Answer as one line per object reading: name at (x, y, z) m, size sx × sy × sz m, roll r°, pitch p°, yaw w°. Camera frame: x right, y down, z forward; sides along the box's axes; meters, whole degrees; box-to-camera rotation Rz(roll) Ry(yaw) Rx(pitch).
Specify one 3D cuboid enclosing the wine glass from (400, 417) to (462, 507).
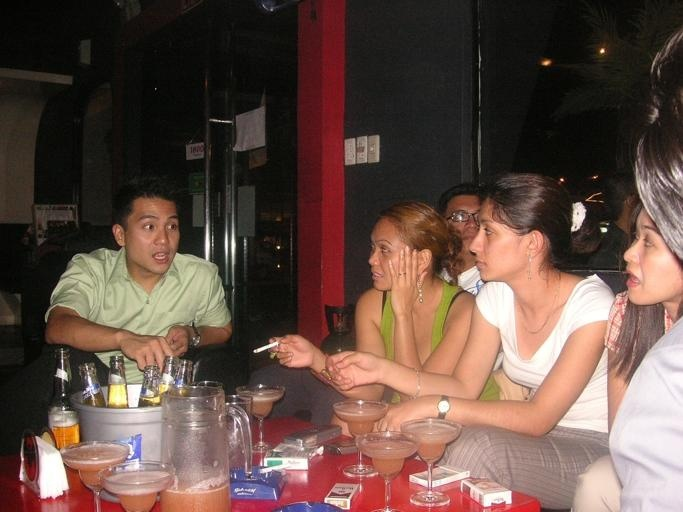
wine glass at (0.213, 0.608, 1.607) m, size 0.192 × 0.242 × 0.187 m, roll 1°, pitch -14°, yaw -1°

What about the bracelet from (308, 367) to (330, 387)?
bracelet at (-0.086, 0.537, 2.437) m, size 0.097 × 0.101 × 0.038 m, roll 22°, pitch 44°, yaw 40°

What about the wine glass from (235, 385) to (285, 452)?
wine glass at (-0.277, 0.582, 1.975) m, size 0.201 × 0.240 × 0.190 m, roll 0°, pitch -11°, yaw 2°

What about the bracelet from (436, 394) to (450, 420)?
bracelet at (0.370, 0.549, 1.993) m, size 0.055 × 0.067 × 0.020 m, roll 6°, pitch -3°, yaw -38°

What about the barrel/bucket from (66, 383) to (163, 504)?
barrel/bucket at (-0.671, 0.523, 1.636) m, size 0.264 × 0.275 × 0.279 m, roll 0°, pitch -1°, yaw 0°

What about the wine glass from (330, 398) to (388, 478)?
wine glass at (0.061, 0.601, 1.798) m, size 0.194 × 0.247 × 0.189 m, roll 0°, pitch -13°, yaw 1°
